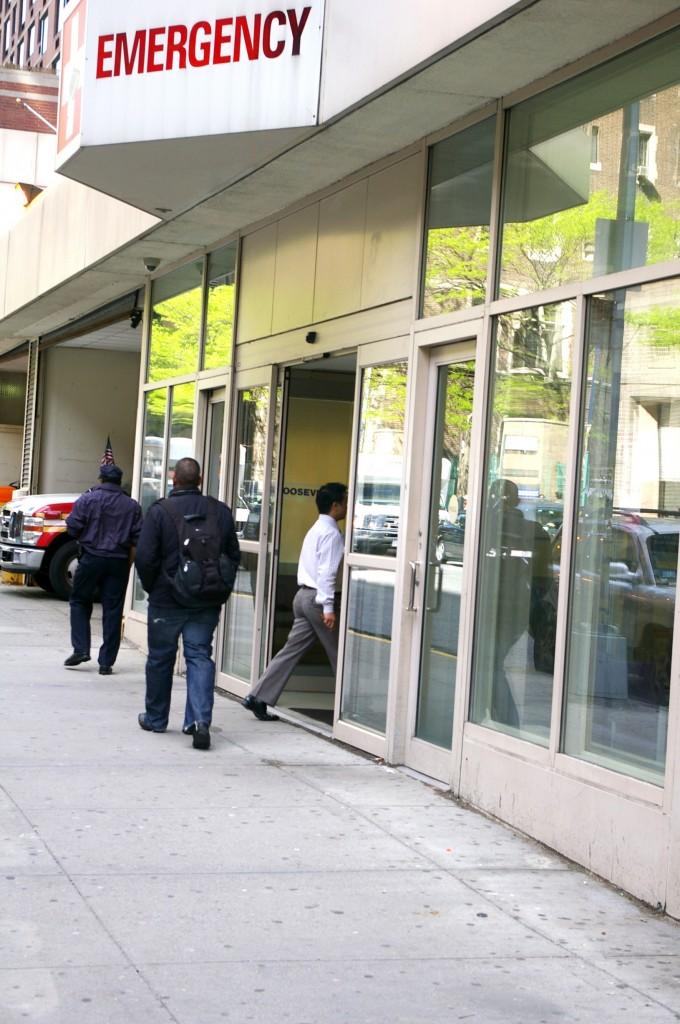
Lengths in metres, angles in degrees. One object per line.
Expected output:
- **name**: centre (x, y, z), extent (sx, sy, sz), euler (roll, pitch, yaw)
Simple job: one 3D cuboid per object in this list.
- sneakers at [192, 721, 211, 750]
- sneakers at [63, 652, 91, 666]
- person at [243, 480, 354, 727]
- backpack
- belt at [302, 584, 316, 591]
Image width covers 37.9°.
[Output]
- **sneakers**: centre (-0.838, 1.389, 6.113), extent (0.077, 0.085, 0.192), euler (-1, -31, 3)
- **sneakers**: centre (-2.487, 1.393, 9.362), extent (0.133, 0.150, 0.366), euler (5, -7, -39)
- **person**: centre (-0.216, 0.685, 7.112), extent (0.444, 1.317, 0.915), euler (7, -3, -28)
- **backpack**: centre (-0.872, 0.251, 6.240), extent (0.479, 0.586, 0.305), euler (6, -2, -14)
- **belt**: centre (-0.209, 0.536, 6.970), extent (0.038, 0.041, 0.127), euler (7, -3, -34)
